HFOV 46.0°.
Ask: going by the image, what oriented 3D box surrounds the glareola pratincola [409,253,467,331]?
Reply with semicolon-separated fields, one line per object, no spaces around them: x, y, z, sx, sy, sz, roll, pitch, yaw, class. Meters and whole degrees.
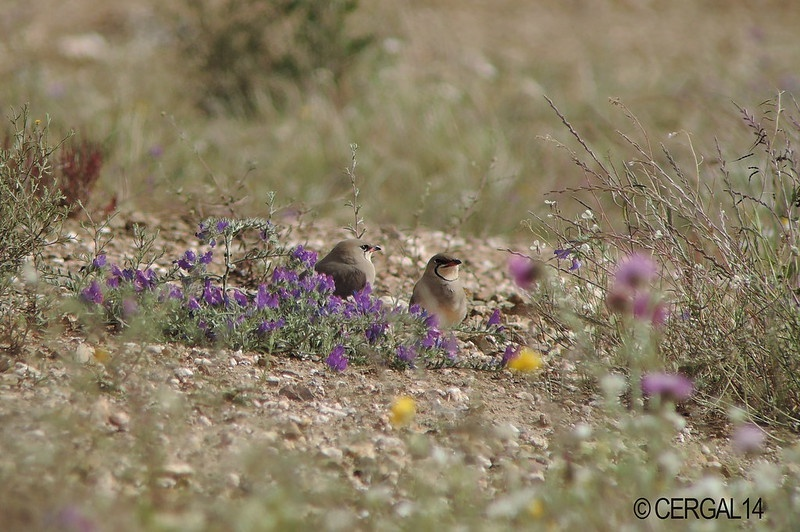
0.285;0.165;6.553;0.343;0.502;0.510;-1;60;-16;glareola pratincola
